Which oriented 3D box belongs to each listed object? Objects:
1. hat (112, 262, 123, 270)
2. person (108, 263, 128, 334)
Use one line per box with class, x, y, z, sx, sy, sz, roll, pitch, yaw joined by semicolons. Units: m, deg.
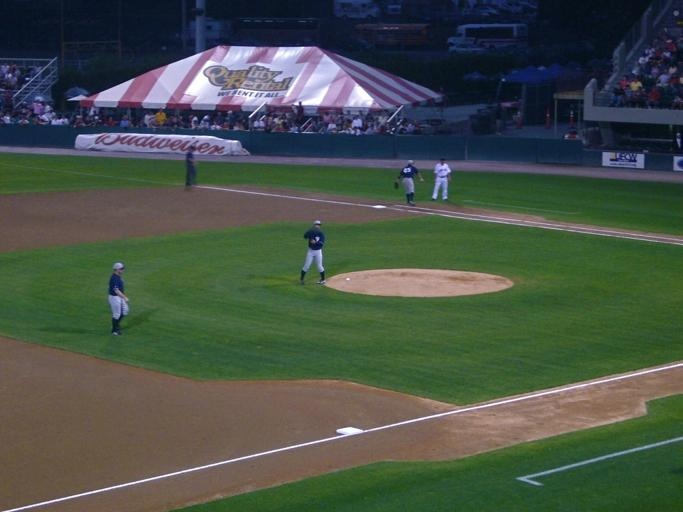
hat;-9.043;0.425;56.999;0.314;0.211;0.203;-10;52;-9
person;-8.817;1.609;55.722;0.664;2.837;1.129;-2;16;-8
